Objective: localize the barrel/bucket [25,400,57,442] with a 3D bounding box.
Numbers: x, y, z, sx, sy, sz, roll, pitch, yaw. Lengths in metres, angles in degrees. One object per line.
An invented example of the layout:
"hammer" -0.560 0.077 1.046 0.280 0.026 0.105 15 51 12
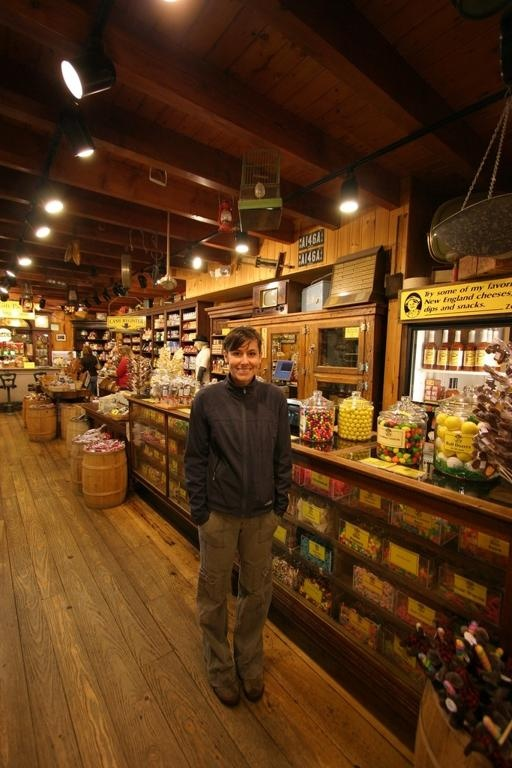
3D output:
"barrel/bucket" -2.920 0.540 6.587 0.382 0.491 0.296 -4 10 -32

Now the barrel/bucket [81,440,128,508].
"barrel/bucket" -1.230 0.762 3.910 0.343 0.541 0.285 -2 9 -21

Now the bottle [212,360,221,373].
"bottle" -0.551 -0.258 6.899 0.157 0.231 0.165 -1 1 0

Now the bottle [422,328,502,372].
"bottle" 1.438 -0.255 3.458 0.494 0.319 0.261 10 12 43

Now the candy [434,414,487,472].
"candy" 0.755 0.229 1.833 0.164 0.203 0.185 2 -4 -13

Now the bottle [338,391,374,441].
"bottle" 0.475 0.159 2.468 0.208 0.313 0.214 3 -1 0

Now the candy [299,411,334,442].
"candy" 0.317 0.215 2.476 0.155 0.162 0.148 -1 -3 30

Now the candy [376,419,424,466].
"candy" 0.607 0.235 2.056 0.176 0.203 0.184 4 -2 0

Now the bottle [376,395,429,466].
"bottle" 0.581 0.206 2.119 0.214 0.338 0.237 2 6 -3

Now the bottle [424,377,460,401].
"bottle" 1.316 0.036 3.384 0.083 0.153 0.153 -4 6 -43

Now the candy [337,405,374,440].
"candy" 0.497 0.186 2.404 0.167 0.189 0.165 0 -1 -3

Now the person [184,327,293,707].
"person" -0.064 0.542 2.051 0.473 1.561 0.359 0 9 -7

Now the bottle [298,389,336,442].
"bottle" 0.313 0.158 2.490 0.215 0.351 0.232 2 -1 0
